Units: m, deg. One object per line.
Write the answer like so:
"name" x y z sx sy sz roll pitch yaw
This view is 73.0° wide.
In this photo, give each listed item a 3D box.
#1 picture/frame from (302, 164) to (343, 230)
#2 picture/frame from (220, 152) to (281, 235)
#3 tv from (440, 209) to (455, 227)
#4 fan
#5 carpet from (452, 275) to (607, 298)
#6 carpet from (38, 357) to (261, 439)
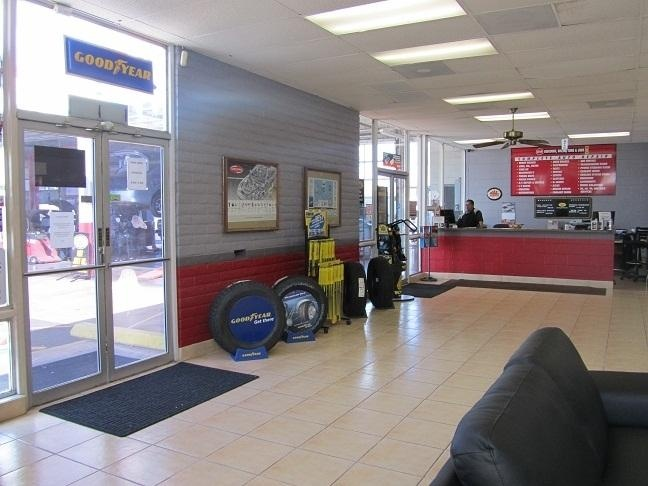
"picture/frame" -0.045 -0.693 6.547 0.052 0.888 1.130 -1 0 30
"picture/frame" -0.942 -0.606 5.410 0.121 1.002 1.129 5 5 39
"tv" 3.001 -0.602 10.614 0.457 0.382 0.104 0 -5 -28
"fan" 3.286 -2.011 7.562 1.212 0.587 1.035 0 12 19
"carpet" 4.213 0.881 8.922 2.728 0.024 1.192 2 5 24
"carpet" -1.522 1.337 3.919 0.999 0.028 1.480 3 6 36
